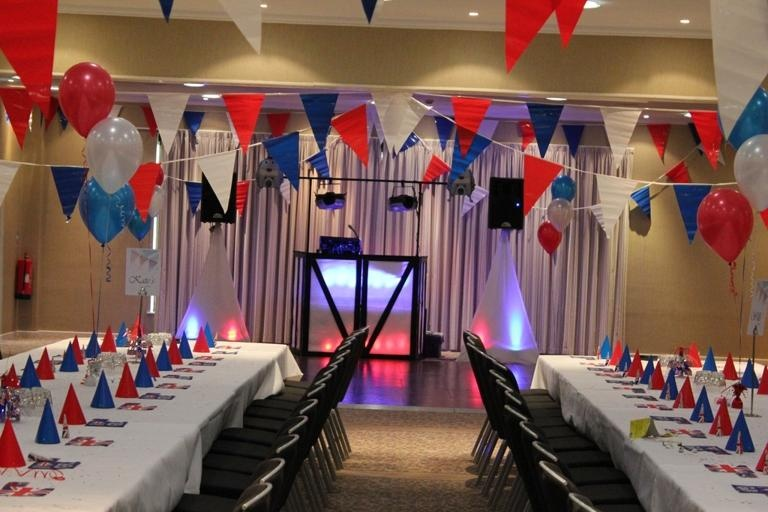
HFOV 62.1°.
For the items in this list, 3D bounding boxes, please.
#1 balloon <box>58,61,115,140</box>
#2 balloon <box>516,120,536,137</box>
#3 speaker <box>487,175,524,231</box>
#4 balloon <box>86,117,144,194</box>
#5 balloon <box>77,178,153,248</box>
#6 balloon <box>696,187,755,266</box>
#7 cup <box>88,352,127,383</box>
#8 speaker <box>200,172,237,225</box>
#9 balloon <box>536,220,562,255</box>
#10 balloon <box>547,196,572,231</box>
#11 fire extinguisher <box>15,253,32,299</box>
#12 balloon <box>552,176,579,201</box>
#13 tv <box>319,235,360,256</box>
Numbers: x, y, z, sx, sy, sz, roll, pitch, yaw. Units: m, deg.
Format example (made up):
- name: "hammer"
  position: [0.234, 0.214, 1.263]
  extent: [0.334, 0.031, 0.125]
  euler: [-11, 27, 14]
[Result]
- name: "balloon"
  position: [-2.212, -1.119, 4.755]
  extent: [0.381, 0.688, 0.373]
  euler: [-1, -2, -26]
- name: "balloon"
  position: [2.217, -1.967, 9.945]
  extent: [0.168, 0.337, 0.473]
  euler: [1, 5, -9]
- name: "speaker"
  position: [1.785, -0.625, 9.324]
  extent: [0.580, 0.862, 0.610]
  euler: [8, -26, 0]
- name: "balloon"
  position: [-2.053, -0.765, 4.837]
  extent: [0.413, 0.626, 0.457]
  euler: [4, 3, -13]
- name: "balloon"
  position: [-2.692, -0.441, 6.412]
  extent: [0.429, 1.042, 0.495]
  euler: [1, 24, -1]
- name: "balloon"
  position: [2.718, -0.248, 5.080]
  extent: [0.411, 0.624, 0.453]
  euler: [0, -16, 3]
- name: "cup"
  position: [-2.013, 0.801, 4.654]
  extent: [0.262, 0.228, 0.204]
  euler: [15, -16, -37]
- name: "speaker"
  position: [-2.395, -0.805, 9.231]
  extent: [0.523, 0.695, 1.403]
  euler: [0, 5, -14]
- name: "balloon"
  position: [2.352, -0.270, 9.046]
  extent: [0.341, 0.509, 0.358]
  euler: [3, -6, 35]
- name: "balloon"
  position: [2.350, -0.557, 8.518]
  extent: [0.353, 0.499, 0.360]
  euler: [4, -7, -34]
- name: "fire extinguisher"
  position: [-5.557, 0.326, 9.833]
  extent: [0.244, 0.701, 0.228]
  euler: [-2, 6, -30]
- name: "balloon"
  position: [2.398, -0.903, 8.461]
  extent: [0.287, 0.440, 0.322]
  euler: [-1, 5, 9]
- name: "tv"
  position: [-0.660, -0.158, 9.616]
  extent: [0.624, 0.256, 0.337]
  euler: [1, 5, -7]
